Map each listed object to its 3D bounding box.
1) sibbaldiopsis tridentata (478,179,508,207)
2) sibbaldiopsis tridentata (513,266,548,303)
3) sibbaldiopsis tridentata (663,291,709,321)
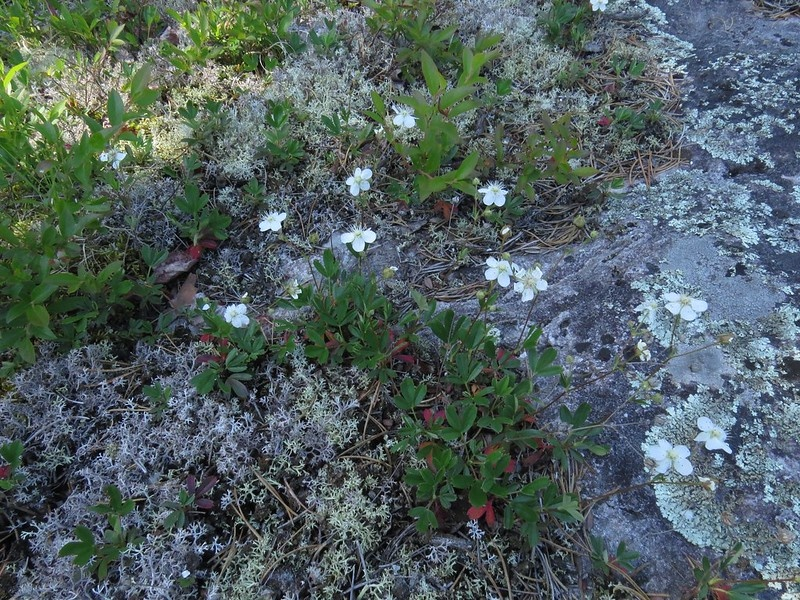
[{"bbox_3d":[0.626,-0.713,4.168,0.202,0.079,0.201,-36,50,-26],"label":"sibbaldiopsis tridentata"},{"bbox_3d":[0.789,-0.070,3.793,0.181,0.279,0.235,1,57,4],"label":"sibbaldiopsis tridentata"},{"bbox_3d":[1.658,0.041,3.590,0.191,0.086,0.218,-10,38,-4],"label":"sibbaldiopsis tridentata"}]
